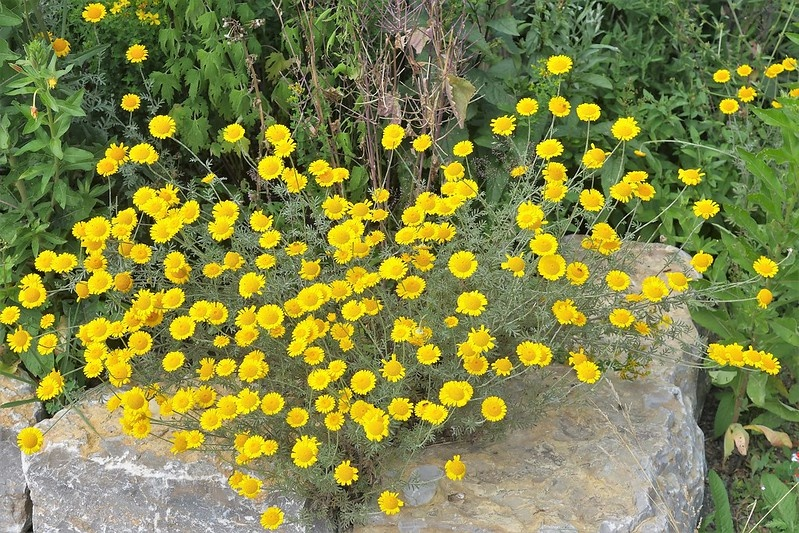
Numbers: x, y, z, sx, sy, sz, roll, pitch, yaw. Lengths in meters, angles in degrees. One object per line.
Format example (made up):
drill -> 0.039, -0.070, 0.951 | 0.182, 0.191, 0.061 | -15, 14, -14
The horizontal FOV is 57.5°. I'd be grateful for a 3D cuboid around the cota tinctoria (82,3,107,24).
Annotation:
cota tinctoria -> -1.631, -1.383, 3.921 | 0.141, 0.046, 0.148 | -3, 80, -4
